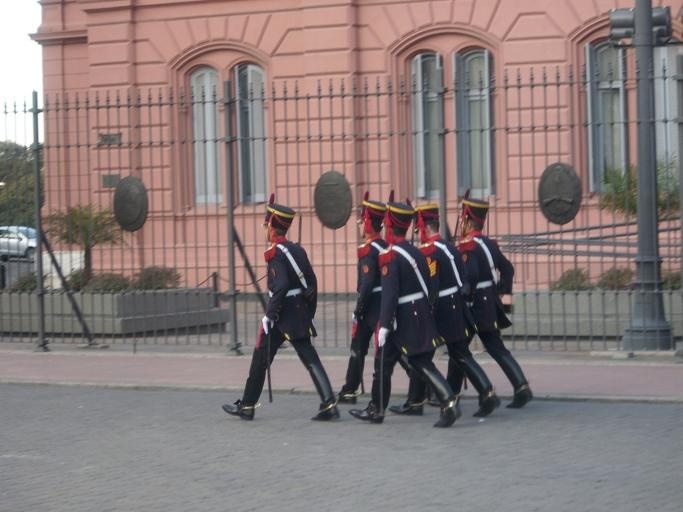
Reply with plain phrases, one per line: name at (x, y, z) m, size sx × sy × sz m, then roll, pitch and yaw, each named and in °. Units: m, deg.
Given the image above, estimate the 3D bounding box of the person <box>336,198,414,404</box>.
person at (0.446, 0.665, 19.072) m, size 1.168 × 3.208 × 0.876 m, roll -7°, pitch 27°, yaw -18°

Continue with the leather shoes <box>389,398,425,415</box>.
leather shoes at (0.868, 1.953, 18.984) m, size 0.360 × 0.143 × 0.200 m, roll 2°, pitch -2°, yaw 12°

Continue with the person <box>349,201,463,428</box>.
person at (0.803, 0.708, 18.359) m, size 1.173 × 2.134 × 0.523 m, roll -3°, pitch 1°, yaw 0°

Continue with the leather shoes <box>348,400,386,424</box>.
leather shoes at (0.366, 1.985, 18.513) m, size 0.539 × 0.285 × 0.196 m, roll 7°, pitch -6°, yaw 16°

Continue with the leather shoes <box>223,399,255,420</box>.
leather shoes at (-1.276, 1.974, 18.703) m, size 0.380 × 0.239 × 0.215 m, roll 10°, pitch -4°, yaw 12°

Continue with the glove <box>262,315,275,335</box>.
glove at (-0.939, 0.874, 18.671) m, size 0.151 × 0.213 × 0.074 m, roll 0°, pitch 16°, yaw 1°

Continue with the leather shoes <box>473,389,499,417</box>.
leather shoes at (1.852, 1.877, 18.675) m, size 0.340 × 0.246 × 0.273 m, roll -3°, pitch 1°, yaw 5°

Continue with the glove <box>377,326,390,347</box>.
glove at (0.519, 1.003, 18.316) m, size 0.090 × 0.223 × 0.161 m, roll 17°, pitch -7°, yaw 6°

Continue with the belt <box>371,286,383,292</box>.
belt at (0.462, 0.413, 18.960) m, size 0.112 × 0.062 × 0.077 m, roll -13°, pitch -24°, yaw -7°

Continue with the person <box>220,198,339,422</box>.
person at (-0.741, 0.702, 18.808) m, size 1.284 × 2.241 × 0.591 m, roll -3°, pitch 1°, yaw -2°

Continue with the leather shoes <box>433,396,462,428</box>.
leather shoes at (1.327, 1.944, 18.285) m, size 0.340 × 0.276 × 0.279 m, roll -3°, pitch 1°, yaw 11°

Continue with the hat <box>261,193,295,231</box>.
hat at (-0.834, -0.571, 18.982) m, size 0.470 × 0.382 × 0.368 m, roll 27°, pitch 11°, yaw 21°
